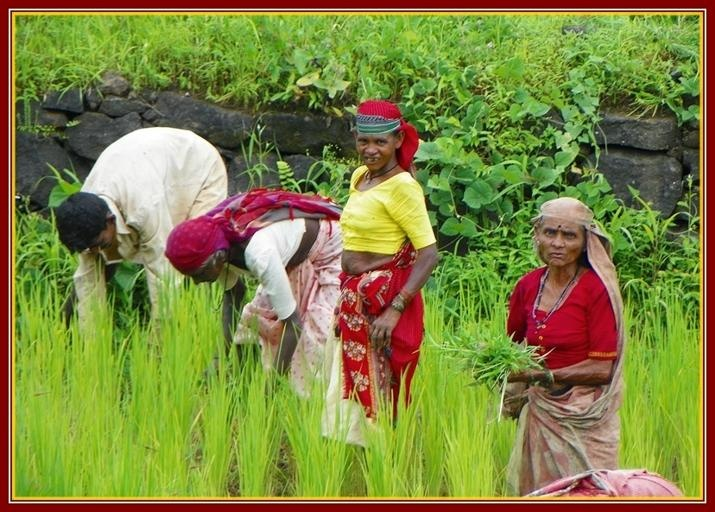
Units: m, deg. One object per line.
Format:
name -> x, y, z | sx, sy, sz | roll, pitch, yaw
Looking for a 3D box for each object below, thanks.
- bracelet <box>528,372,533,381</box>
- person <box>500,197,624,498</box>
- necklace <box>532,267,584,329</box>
bracelet -> 1.029, 0.720, 5.009 | 0.031, 0.030, 0.034 | 2, 10, 17
person -> 1.258, 0.584, 5.098 | 0.719, 1.817, 0.265 | 5, 4, 10
necklace -> 1.197, 0.253, 5.087 | 0.203, 0.378, 0.078 | 21, 1, 43
